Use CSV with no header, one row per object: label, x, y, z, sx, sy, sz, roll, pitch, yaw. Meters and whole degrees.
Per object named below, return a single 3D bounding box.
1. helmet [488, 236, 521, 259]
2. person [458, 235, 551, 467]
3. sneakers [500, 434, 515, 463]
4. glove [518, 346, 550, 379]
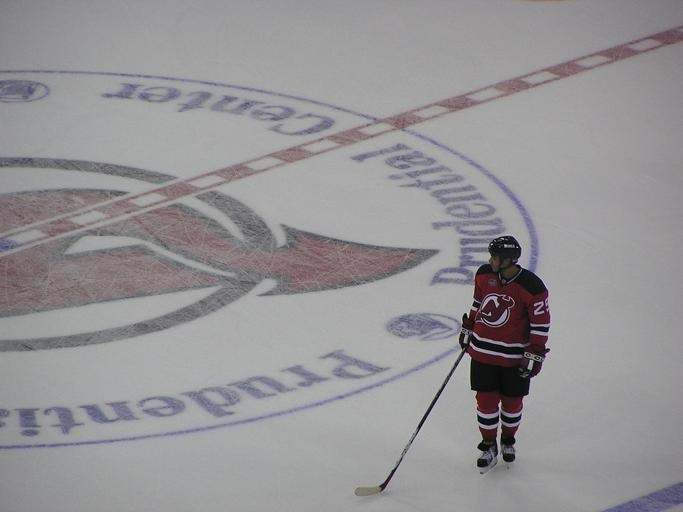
helmet,1.518,-0.076,7.240,0.322,0.205,0.183,-10,-68,-11
person,1.456,0.907,7.301,0.790,1.994,1.415,9,-28,9
sneakers,1.535,1.777,7.451,0.132,0.251,0.123,-2,-33,4
glove,1.773,0.962,7.276,0.269,0.272,0.141,12,-9,39
